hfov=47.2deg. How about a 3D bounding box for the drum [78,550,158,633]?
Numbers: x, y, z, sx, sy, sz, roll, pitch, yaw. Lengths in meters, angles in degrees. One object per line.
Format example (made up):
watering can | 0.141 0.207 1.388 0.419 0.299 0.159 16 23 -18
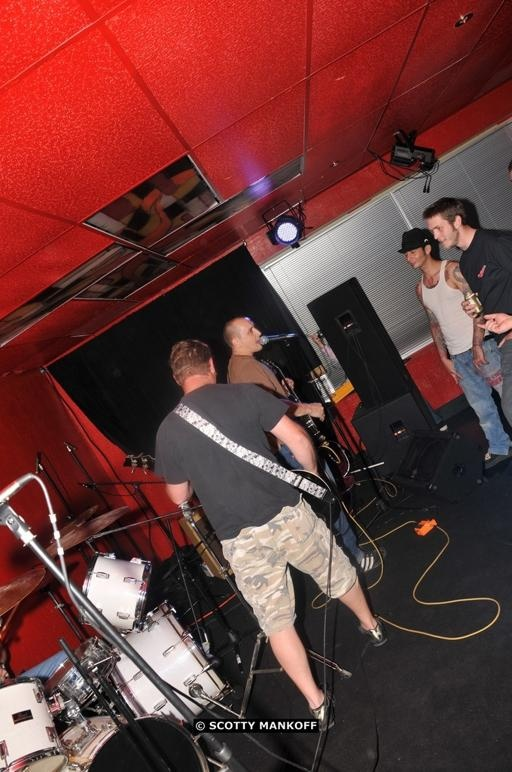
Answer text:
drum | -0.771 1.161 3.327 0.466 0.385 0.439 -84 6 -59

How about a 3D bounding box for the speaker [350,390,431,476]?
speaker | 1.048 0.362 4.044 0.462 0.480 0.452 7 -41 -37

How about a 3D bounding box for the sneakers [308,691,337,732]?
sneakers | 0.269 1.359 2.416 0.103 0.236 0.102 -5 38 10

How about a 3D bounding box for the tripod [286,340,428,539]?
tripod | 0.749 0.419 4.843 0.742 1.334 0.349 -44 -5 24

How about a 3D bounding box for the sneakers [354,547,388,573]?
sneakers | 0.673 0.974 3.400 0.089 0.100 0.271 18 21 36

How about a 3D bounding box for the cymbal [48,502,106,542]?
cymbal | -1.118 0.848 3.677 0.358 0.087 0.374 -31 12 -36

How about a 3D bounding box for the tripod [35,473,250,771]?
tripod | -0.614 1.256 3.112 0.380 1.820 0.212 -41 -2 34

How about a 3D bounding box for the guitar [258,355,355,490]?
guitar | 0.417 0.277 3.902 0.168 1.145 0.512 -38 6 -19

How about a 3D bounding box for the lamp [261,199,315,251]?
lamp | 0.260 -1.410 5.096 0.337 0.169 0.442 -11 30 2

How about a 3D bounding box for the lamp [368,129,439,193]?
lamp | 1.151 -1.858 4.747 0.408 0.538 0.436 -2 -75 -61

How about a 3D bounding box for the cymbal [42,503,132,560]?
cymbal | -1.130 0.866 3.715 0.527 0.102 0.683 -27 6 -17
